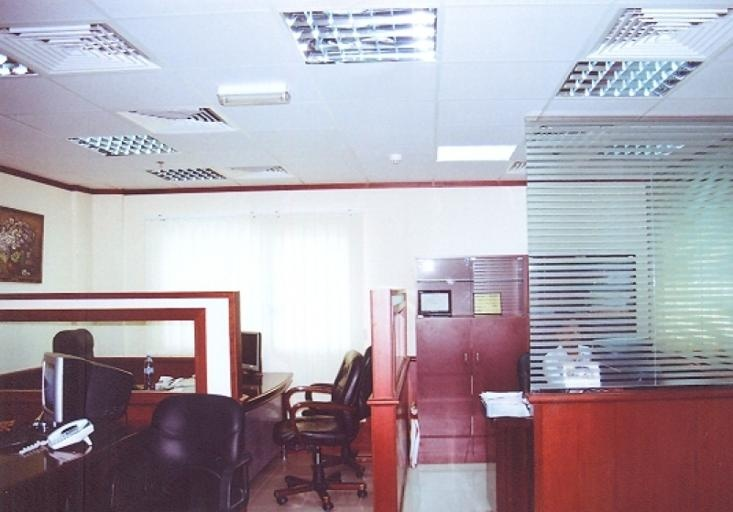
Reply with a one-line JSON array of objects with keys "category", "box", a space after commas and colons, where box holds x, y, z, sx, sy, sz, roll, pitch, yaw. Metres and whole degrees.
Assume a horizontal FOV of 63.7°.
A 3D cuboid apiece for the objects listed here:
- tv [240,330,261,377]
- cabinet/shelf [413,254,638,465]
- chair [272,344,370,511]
[{"category": "tv", "box": [-1.198, 0.982, 6.128, 0.357, 0.468, 0.360, 1, -7, -9]}, {"category": "cabinet/shelf", "box": [1.116, 1.061, 6.314, 1.180, 2.178, 0.555, 0, -5, 6]}, {"category": "chair", "box": [-0.403, 1.629, 6.150, 1.213, 1.803, 1.275, 2, -9, -7]}]
